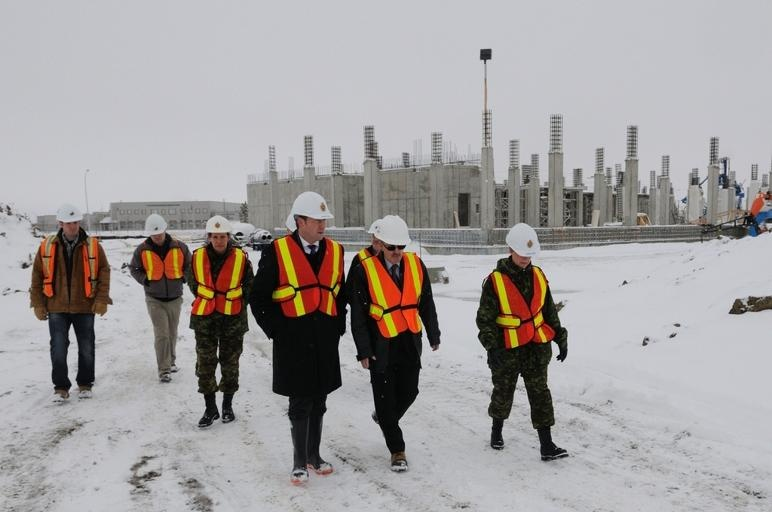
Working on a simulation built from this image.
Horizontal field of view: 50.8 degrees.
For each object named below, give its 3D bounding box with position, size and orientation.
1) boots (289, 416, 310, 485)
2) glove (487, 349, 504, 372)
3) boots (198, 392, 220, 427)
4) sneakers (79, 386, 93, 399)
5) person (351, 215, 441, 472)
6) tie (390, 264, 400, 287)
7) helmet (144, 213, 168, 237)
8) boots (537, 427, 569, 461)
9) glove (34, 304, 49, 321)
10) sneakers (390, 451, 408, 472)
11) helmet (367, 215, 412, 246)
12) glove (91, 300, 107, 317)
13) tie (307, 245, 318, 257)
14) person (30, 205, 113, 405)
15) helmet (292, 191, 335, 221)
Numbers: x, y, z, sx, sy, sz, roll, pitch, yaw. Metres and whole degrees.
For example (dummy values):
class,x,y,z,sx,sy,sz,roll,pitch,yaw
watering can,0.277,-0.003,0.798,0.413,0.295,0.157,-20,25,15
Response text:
class,x,y,z,sx,sy,sz,roll,pitch,yaw
boots,-1.212,2.743,11.566,0.269,0.893,0.308,-3,6,-7
glove,1.631,1.536,12.029,0.230,0.385,0.201,-1,6,8
boots,-2.802,2.428,12.881,0.191,0.449,0.456,-5,10,29
sneakers,-5.033,2.277,13.735,0.229,0.187,0.256,-4,7,-21
person,0.132,1.248,11.878,1.272,3.620,0.684,-2,6,-4
tie,0.149,0.277,11.919,0.159,0.298,0.067,-5,-3,-21
helmet,-4.121,-0.607,14.712,0.333,0.257,0.440,-19,26,-2
boots,2.415,2.803,12.198,0.282,0.517,0.528,-9,-13,-15
glove,-5.760,0.967,13.715,0.212,0.294,0.119,-9,8,-18
sneakers,0.212,2.954,11.810,0.270,0.269,0.216,-3,6,-7
helmet,0.039,-0.367,11.940,0.398,0.272,0.579,1,8,-22
glove,-4.816,0.882,13.953,0.276,0.320,0.338,8,-11,-44
tie,-1.048,-0.071,11.675,0.161,0.161,0.039,3,-4,-18
person,-5.293,0.762,13.834,1.261,3.178,0.905,-4,6,-20
helmet,-1.030,-0.697,11.594,0.498,0.283,0.374,5,6,34
